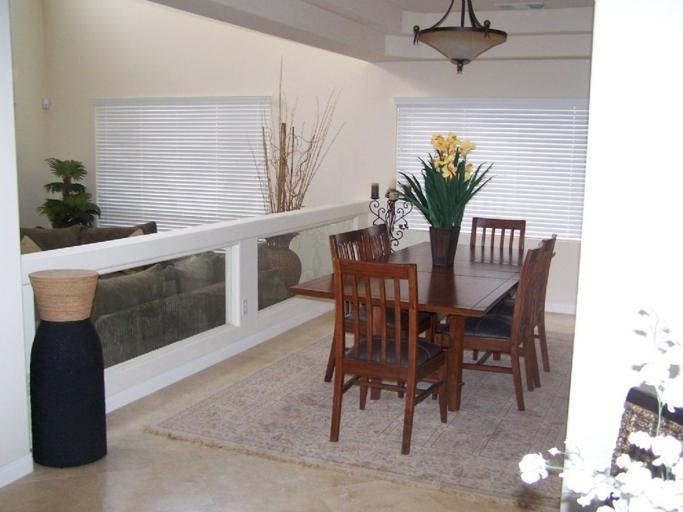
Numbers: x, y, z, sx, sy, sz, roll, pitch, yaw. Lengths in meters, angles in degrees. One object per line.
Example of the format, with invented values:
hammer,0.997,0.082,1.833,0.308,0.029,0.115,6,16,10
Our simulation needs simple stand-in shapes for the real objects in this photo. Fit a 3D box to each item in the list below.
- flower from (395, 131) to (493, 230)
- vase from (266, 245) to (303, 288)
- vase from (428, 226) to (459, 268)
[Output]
flower,0.754,-0.567,3.925,0.504,0.710,0.328,4,11,16
vase,-0.534,0.084,5.034,0.370,0.464,0.380,-2,6,-4
vase,0.791,-0.070,3.979,0.270,0.394,0.280,2,3,16
